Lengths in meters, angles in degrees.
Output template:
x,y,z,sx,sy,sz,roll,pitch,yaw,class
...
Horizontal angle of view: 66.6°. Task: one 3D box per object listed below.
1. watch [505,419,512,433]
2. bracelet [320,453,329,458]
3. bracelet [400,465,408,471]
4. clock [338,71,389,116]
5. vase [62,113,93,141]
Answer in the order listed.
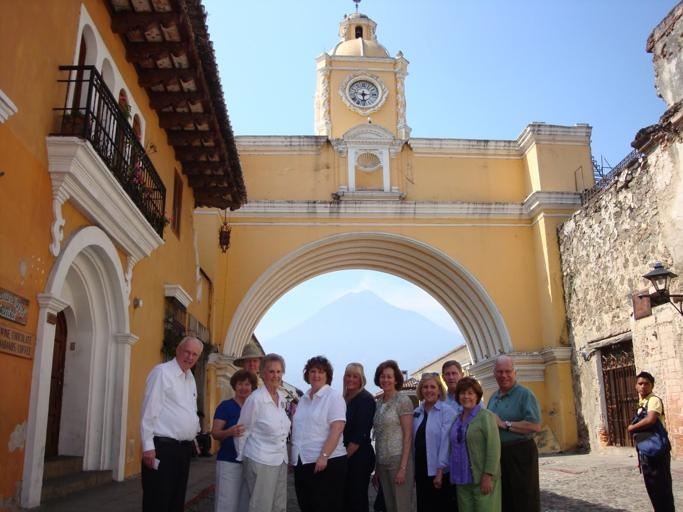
x,y,z,sx,sy,sz,roll,pitch,yaw,class
1.482,1.541,4.667,0.043,0.076,0.075,1,3,-4,watch
-0.139,1.737,4.517,0.069,0.044,0.041,13,-25,-29,bracelet
0.568,1.957,4.796,0.059,0.060,0.062,-12,-8,-18,bracelet
0.798,-5.926,18.979,1.642,1.893,0.262,2,-25,-3,clock
-3.017,-1.470,5.930,0.284,0.284,0.321,-2,-21,-5,vase
